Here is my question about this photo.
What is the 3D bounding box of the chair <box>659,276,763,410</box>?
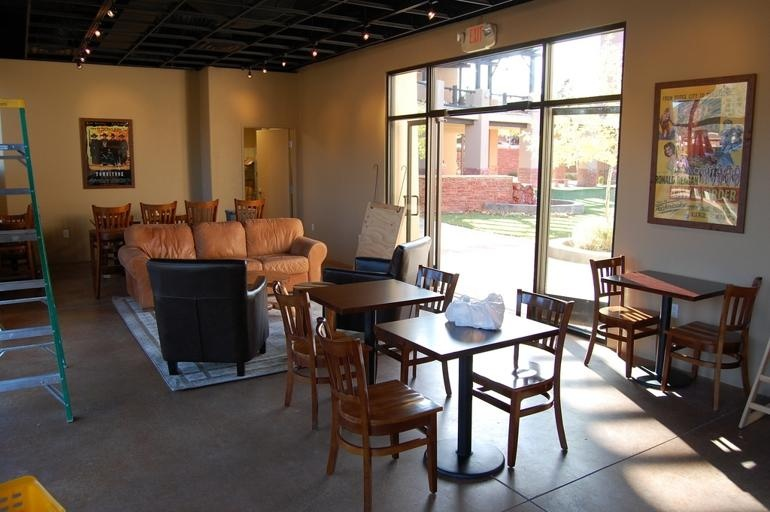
[{"bbox_3d":[3.269,0.803,5.478,0.746,1.190,0.828,7,14,36],"label":"chair"}]

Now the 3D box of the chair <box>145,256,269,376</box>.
[{"bbox_3d":[-1.573,0.554,5.993,1.074,1.443,1.279,1,9,2],"label":"chair"}]

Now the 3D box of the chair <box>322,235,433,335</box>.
[{"bbox_3d":[0.046,0.342,6.951,1.342,1.295,1.189,4,5,24],"label":"chair"}]

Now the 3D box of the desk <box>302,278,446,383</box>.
[{"bbox_3d":[-0.169,0.489,5.465,1.103,1.038,1.089,-6,15,-30],"label":"desk"}]

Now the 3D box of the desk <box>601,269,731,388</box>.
[{"bbox_3d":[2.968,0.841,5.766,1.043,0.878,1.063,7,-2,30],"label":"desk"}]

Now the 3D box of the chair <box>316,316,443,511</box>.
[{"bbox_3d":[-0.126,1.160,4.388,0.847,1.310,1.080,-7,13,-29],"label":"chair"}]
